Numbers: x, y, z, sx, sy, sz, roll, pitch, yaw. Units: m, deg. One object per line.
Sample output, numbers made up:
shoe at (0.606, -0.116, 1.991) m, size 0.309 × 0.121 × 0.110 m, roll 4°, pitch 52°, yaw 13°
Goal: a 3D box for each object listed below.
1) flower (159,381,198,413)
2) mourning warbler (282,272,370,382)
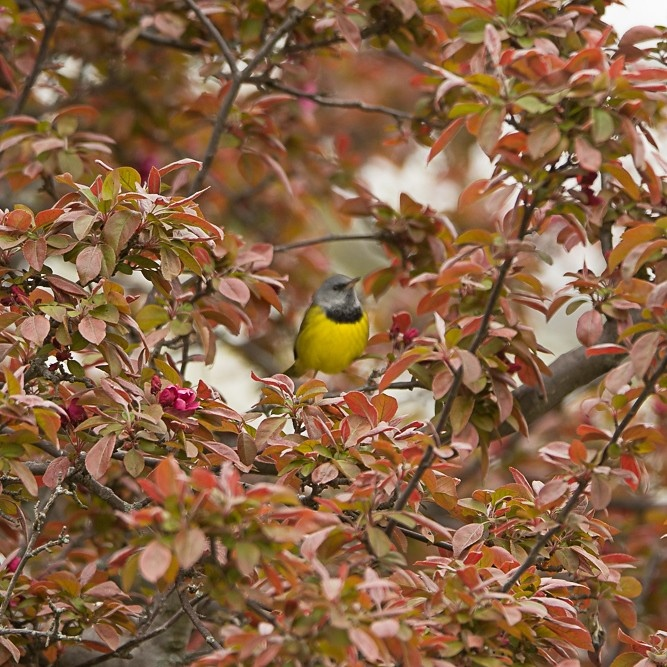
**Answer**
flower at (-0.536, 0.223, 3.971) m, size 0.123 × 0.067 × 0.114 m, roll 16°, pitch -8°, yaw 9°
mourning warbler at (-0.044, -0.027, 6.760) m, size 0.510 × 0.595 × 0.806 m, roll 1°, pitch 3°, yaw -25°
